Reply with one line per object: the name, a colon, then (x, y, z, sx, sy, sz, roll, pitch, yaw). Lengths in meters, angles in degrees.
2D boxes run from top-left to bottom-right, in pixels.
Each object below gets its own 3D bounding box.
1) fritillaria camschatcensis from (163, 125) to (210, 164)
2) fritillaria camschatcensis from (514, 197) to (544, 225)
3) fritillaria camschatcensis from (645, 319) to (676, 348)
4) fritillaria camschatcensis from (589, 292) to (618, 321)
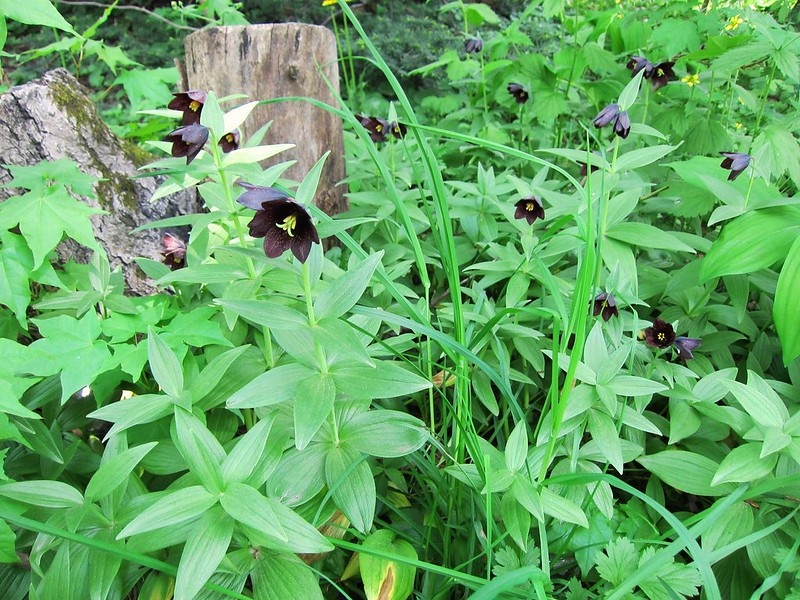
fritillaria camschatcensis: (-0.855, -0.637, 2.615, 0.137, 0.177, 0.241, -5, 23, -34)
fritillaria camschatcensis: (0.655, -0.453, 3.261, 0.166, 0.141, 0.118, 15, 19, 18)
fritillaria camschatcensis: (1.180, 0.164, 2.943, 0.135, 0.127, 0.088, 18, 21, 28)
fritillaria camschatcensis: (0.940, 0.031, 2.936, 0.124, 0.142, 0.122, 12, 19, 13)
